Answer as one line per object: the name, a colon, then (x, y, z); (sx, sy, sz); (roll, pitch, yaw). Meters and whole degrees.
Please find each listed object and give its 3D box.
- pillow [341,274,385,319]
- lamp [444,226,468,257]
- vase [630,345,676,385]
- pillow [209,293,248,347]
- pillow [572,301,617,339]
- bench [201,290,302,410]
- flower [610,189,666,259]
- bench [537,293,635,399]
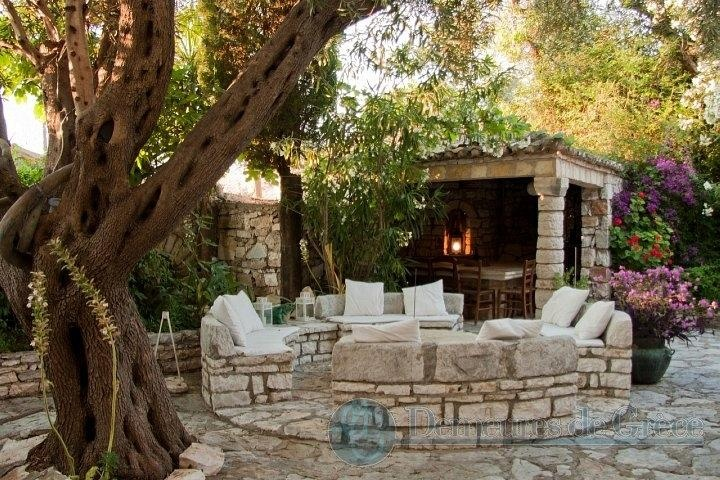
pillow: (0.074, 0.927, 9.597); (0.660, 0.591, 0.217); (2, 4, -6)
lamp: (2.276, 0.009, 13.947); (0.412, 0.680, 0.661); (-3, -5, 32)
vase: (4.000, 1.684, 8.341); (0.571, 0.538, 0.519); (1, -7, 0)
pillow: (-1.625, 1.028, 7.594); (0.164, 0.567, 0.557); (-21, 5, 11)
pillow: (3.194, 0.978, 8.059); (0.328, 0.386, 0.598); (-9, 18, 11)
bench: (-1.497, 1.403, 7.892); (1.145, 1.415, 1.153); (0, -4, -16)
flower: (5.750, -0.234, 12.172); (1.542, 1.565, 0.579); (2, -4, -31)
bench: (2.773, 1.344, 8.614); (1.409, 1.203, 2.026); (6, 1, -5)
